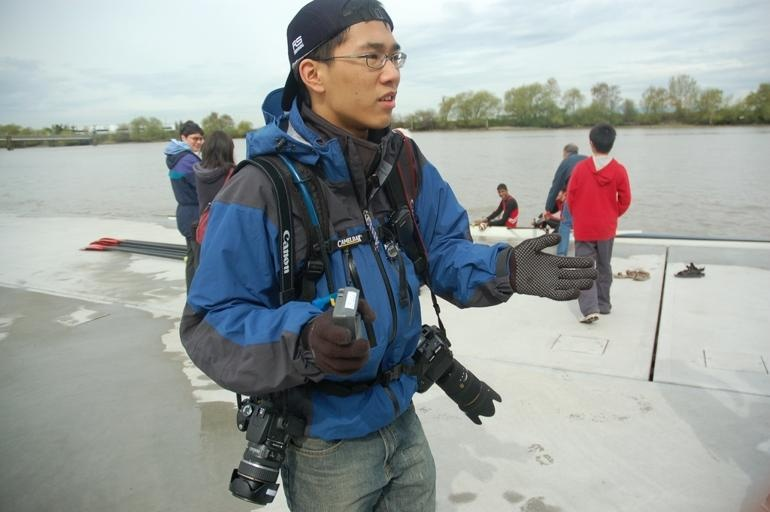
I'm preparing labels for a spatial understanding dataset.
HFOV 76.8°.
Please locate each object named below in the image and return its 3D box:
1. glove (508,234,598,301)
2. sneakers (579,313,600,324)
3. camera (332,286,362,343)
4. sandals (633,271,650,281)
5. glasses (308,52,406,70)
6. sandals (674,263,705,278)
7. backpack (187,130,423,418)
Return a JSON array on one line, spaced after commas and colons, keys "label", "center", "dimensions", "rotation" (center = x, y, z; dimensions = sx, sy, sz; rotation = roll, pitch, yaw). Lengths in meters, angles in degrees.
[{"label": "glove", "center": [0.862, 0.050, 2.550], "dimensions": [0.134, 0.343, 0.537], "rotation": [2, -1, -39]}, {"label": "sneakers", "center": [2.503, 0.767, 5.978], "dimensions": [0.102, 0.122, 0.279], "rotation": [-2, -13, -7]}, {"label": "camera", "center": [-0.173, 0.248, 2.143], "dimensions": [0.141, 0.254, 0.135], "rotation": [2, -6, -3]}, {"label": "sandals", "center": [3.793, 0.298, 7.207], "dimensions": [0.225, 0.102, 0.185], "rotation": [-15, 20, -41]}, {"label": "glasses", "center": [-0.113, -0.985, 2.477], "dimensions": [0.442, 0.085, 0.116], "rotation": [-3, 15, -6]}, {"label": "sandals", "center": [4.552, 0.241, 7.237], "dimensions": [0.262, 0.135, 0.363], "rotation": [-1, 7, 32]}, {"label": "backpack", "center": [-0.584, 0.144, 2.183], "dimensions": [0.460, 0.990, 0.810], "rotation": [-15, 20, -40]}]
